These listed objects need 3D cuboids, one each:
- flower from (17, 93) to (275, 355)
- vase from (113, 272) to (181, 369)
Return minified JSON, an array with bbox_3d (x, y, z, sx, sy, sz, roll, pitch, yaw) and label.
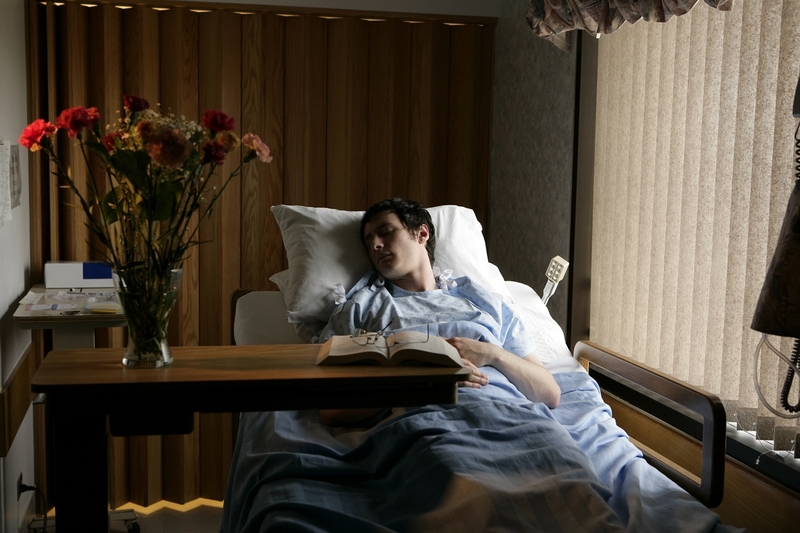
[{"bbox_3d":[-0.750,-0.062,1.946,0.555,0.714,0.605,0,2,-18],"label":"flower"},{"bbox_3d":[-0.756,0.140,1.913,0.235,0.367,0.220,0,3,-29],"label":"vase"}]
